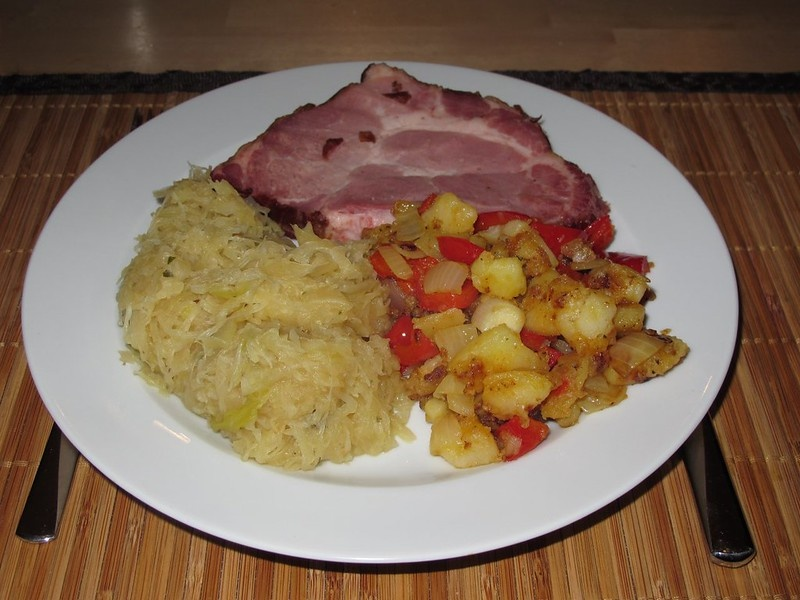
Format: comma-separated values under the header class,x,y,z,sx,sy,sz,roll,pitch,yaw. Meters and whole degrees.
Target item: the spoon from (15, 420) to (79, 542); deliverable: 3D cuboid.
class,x,y,z,sx,sy,sz,roll,pitch,yaw
spoon,-1.611,0.855,3.414,0.169,0.117,0.517,7,60,0
